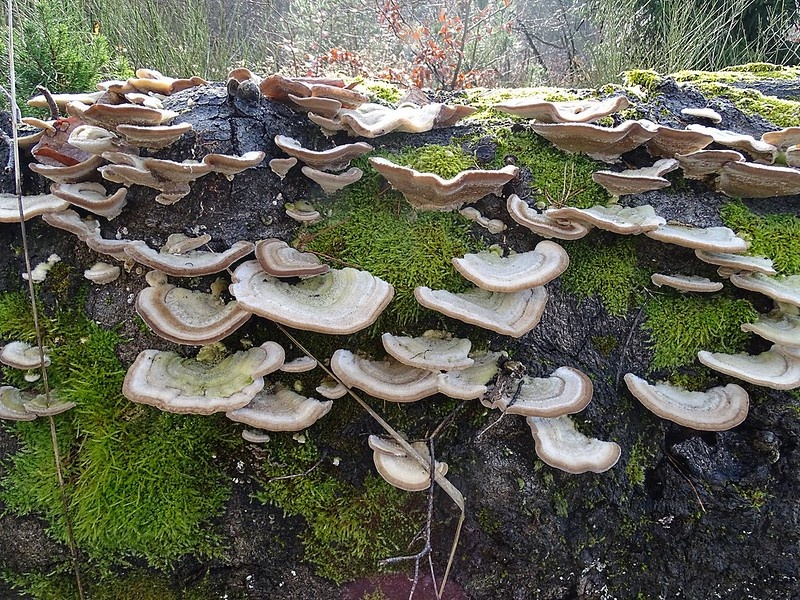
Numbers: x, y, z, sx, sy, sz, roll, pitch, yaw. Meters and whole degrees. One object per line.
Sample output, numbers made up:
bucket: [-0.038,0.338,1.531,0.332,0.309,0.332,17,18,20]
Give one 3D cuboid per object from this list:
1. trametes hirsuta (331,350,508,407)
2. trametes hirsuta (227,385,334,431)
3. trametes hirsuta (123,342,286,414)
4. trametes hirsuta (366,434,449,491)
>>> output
trametes hirsuta: [0.135,0.723,5.991,1.012,0.187,0.685,5,13,10]
trametes hirsuta: [-1.069,1.013,6.034,0.651,0.121,0.430,-7,31,-16]
trametes hirsuta: [-1.761,0.735,5.887,1.039,0.166,0.716,4,30,0]
trametes hirsuta: [0.032,1.432,6.057,0.574,0.602,0.153,-14,19,30]
